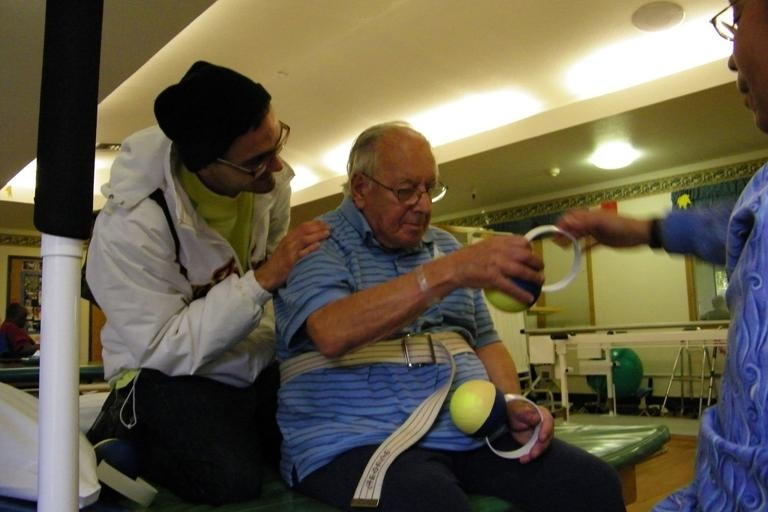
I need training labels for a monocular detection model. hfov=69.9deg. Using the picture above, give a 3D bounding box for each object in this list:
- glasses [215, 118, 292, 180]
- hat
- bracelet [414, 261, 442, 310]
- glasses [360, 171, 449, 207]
[{"bbox_3d":[-0.459,-0.366,2.009,0.228,0.067,0.225,-6,40,43],"label":"glasses"},{"bbox_3d":[-0.589,-0.516,2.049,0.347,0.324,0.435,-10,-16,5],"label":"hat"},{"bbox_3d":[0.109,0.077,1.433,0.025,0.093,0.092,-24,-5,8],"label":"bracelet"},{"bbox_3d":[0.048,-0.225,1.778,0.169,0.051,0.171,19,16,41],"label":"glasses"}]
